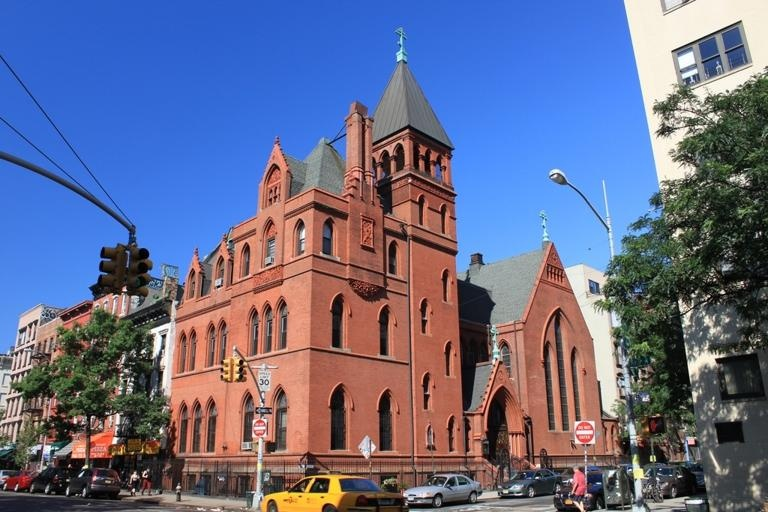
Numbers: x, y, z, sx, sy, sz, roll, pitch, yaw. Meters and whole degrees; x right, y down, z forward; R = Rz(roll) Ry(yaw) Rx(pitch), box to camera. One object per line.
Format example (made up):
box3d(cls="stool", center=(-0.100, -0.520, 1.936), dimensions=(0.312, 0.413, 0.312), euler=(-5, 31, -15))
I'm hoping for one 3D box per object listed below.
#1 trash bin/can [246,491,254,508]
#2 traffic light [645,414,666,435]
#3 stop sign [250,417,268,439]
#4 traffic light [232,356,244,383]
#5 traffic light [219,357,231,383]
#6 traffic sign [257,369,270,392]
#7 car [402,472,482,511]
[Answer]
box3d(cls="trash bin/can", center=(-7.974, 14.539, 33.941), dimensions=(0.366, 0.834, 0.854), euler=(3, -25, -12))
box3d(cls="traffic light", center=(11.836, 7.314, 24.726), dimensions=(1.003, 0.984, 0.756), euler=(4, -16, -10))
box3d(cls="stop sign", center=(-7.397, 10.272, 33.994), dimensions=(0.730, 1.208, 1.241), euler=(7, -26, -19))
box3d(cls="traffic light", center=(-8.229, 6.407, 32.318), dimensions=(0.595, 1.291, 0.847), euler=(2, -25, -10))
box3d(cls="traffic light", center=(-8.822, 6.375, 32.214), dimensions=(0.581, 1.327, 0.877), euler=(3, -25, -11))
box3d(cls="traffic sign", center=(-7.230, 7.389, 34.162), dimensions=(0.590, 1.258, 0.966), euler=(-1, -24, -3))
box3d(cls="car", center=(3.614, 14.488, 35.122), dimensions=(4.280, 1.434, 1.913), euler=(16, -26, -33))
